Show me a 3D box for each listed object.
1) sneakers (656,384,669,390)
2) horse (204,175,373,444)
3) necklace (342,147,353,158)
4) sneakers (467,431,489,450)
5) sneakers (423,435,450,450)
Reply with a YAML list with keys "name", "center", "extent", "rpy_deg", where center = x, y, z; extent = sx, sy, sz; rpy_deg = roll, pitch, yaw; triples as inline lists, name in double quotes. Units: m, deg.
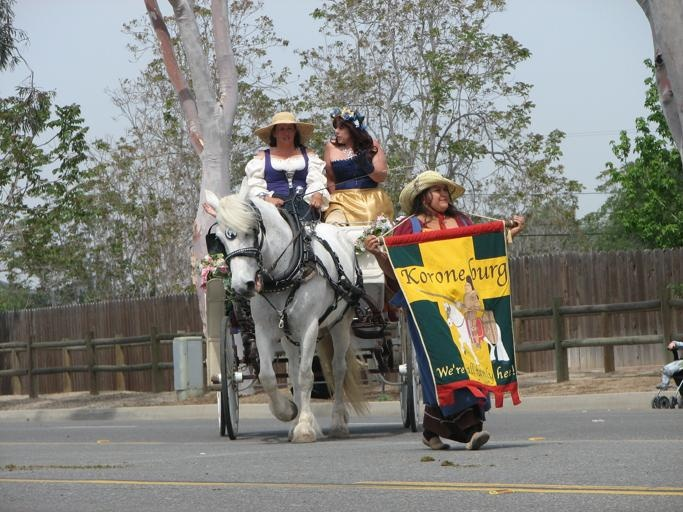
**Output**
- name: "sneakers"
  center: [5.488, 2.203, 22.528]
  extent: [0.177, 0.101, 0.234]
  rpy_deg: [1, -5, 10]
- name: "horse"
  center: [-0.628, 0.781, 19.628]
  extent: [1.249, 3.898, 2.683]
  rpy_deg: [-9, -7, 38]
- name: "necklace"
  center: [0.093, -1.639, 21.362]
  extent: [0.150, 0.162, 0.036]
  rpy_deg: [-2, -16, 13]
- name: "sneakers"
  center: [1.863, 2.482, 18.125]
  extent: [0.156, 0.150, 0.386]
  rpy_deg: [2, -41, -34]
- name: "sneakers"
  center: [1.315, 2.573, 18.418]
  extent: [0.340, 0.133, 0.154]
  rpy_deg: [4, 4, 44]
